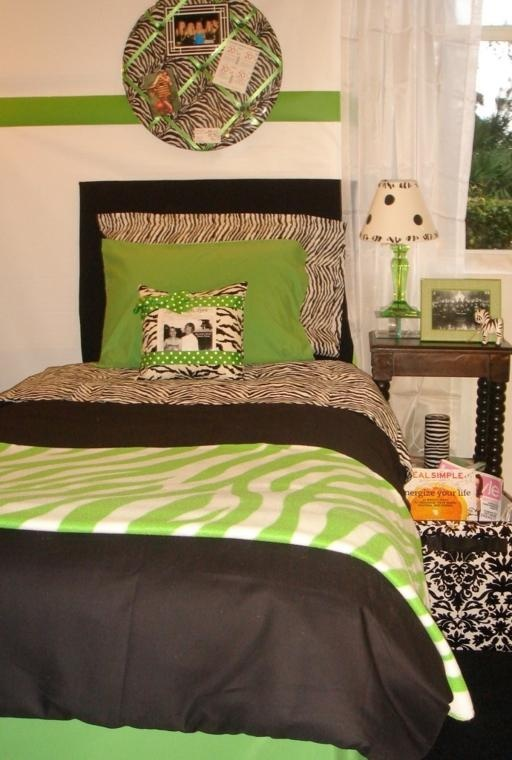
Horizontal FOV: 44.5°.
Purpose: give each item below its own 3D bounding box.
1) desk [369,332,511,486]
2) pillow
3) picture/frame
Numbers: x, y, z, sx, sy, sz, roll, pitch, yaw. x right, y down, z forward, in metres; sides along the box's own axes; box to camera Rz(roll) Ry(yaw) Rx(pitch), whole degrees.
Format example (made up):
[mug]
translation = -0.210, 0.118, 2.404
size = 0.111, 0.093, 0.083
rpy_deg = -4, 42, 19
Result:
[desk]
translation = 0.679, 0.096, 2.637
size = 0.603, 0.732, 0.537
rpy_deg = 0, 8, 3
[pillow]
translation = -0.111, -0.292, 2.304
size = 0.746, 0.497, 0.091
rpy_deg = -2, -21, -1
[picture/frame]
translation = 0.816, -0.274, 2.499
size = 0.307, 0.237, 0.022
rpy_deg = 0, 0, 5
